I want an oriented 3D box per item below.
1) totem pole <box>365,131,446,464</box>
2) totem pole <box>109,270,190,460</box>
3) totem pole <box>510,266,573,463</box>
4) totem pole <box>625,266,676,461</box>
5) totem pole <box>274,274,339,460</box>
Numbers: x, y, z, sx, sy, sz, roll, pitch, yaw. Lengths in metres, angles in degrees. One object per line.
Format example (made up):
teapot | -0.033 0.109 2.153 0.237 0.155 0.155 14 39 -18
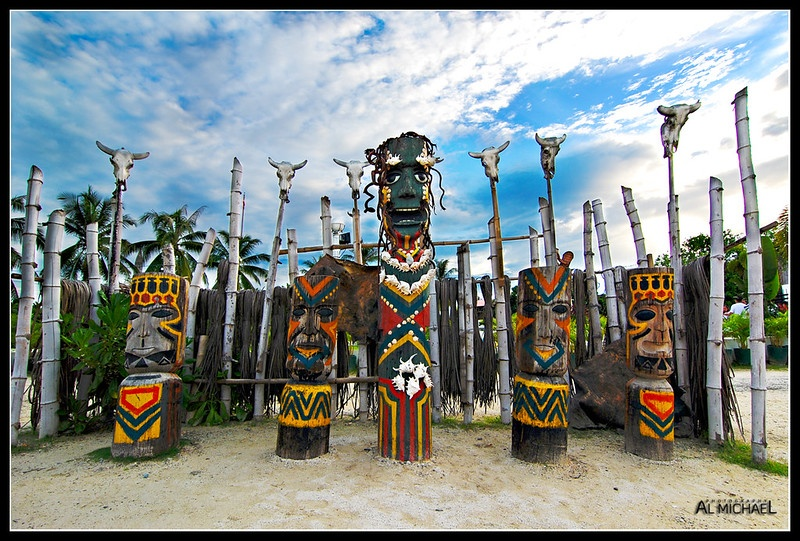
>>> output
totem pole | 0.016 0.251 6.743 0.874 4.094 1.102 1 7 -3
totem pole | -3.228 1.166 6.732 0.714 2.225 0.819 1 7 -4
totem pole | 1.823 1.162 6.689 0.696 2.414 0.699 3 7 13
totem pole | 3.315 1.194 6.941 0.612 2.444 0.618 3 7 15
totem pole | -1.181 1.180 6.610 0.692 2.222 0.658 1 7 0
